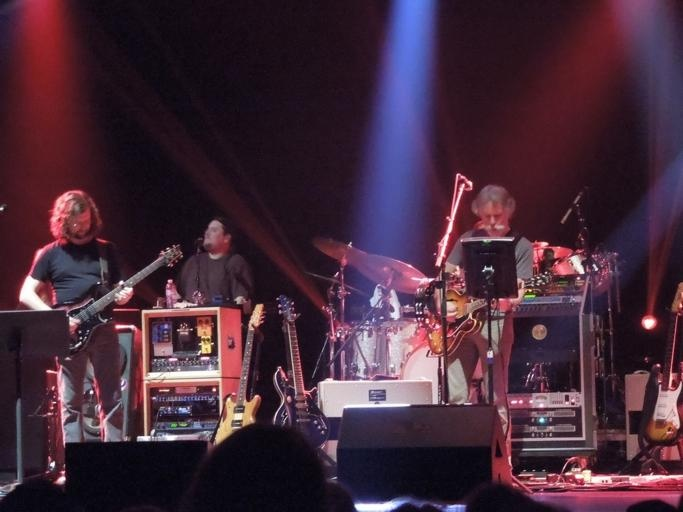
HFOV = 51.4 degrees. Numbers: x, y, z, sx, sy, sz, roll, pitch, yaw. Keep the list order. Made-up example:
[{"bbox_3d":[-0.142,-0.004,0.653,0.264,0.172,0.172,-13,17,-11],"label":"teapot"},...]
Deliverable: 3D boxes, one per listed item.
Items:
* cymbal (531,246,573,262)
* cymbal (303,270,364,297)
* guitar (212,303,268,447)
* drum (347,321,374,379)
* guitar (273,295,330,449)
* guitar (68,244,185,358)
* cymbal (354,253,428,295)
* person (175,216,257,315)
[{"bbox_3d":[2.341,-0.040,7.930,0.322,0.171,0.337,3,9,16],"label":"cymbal"},{"bbox_3d":[-0.051,0.331,8.548,0.418,0.115,0.441,17,-11,29],"label":"cymbal"},{"bbox_3d":[-0.930,1.161,6.710,0.474,1.519,0.162,2,24,-22],"label":"guitar"},{"bbox_3d":[0.239,1.052,7.914,0.266,0.608,0.341,-1,-9,1],"label":"drum"},{"bbox_3d":[-0.422,1.111,6.905,0.554,1.630,0.165,0,22,18],"label":"guitar"},{"bbox_3d":[-2.169,0.481,7.126,1.223,0.411,0.132,-39,21,-20],"label":"guitar"},{"bbox_3d":[0.501,0.169,8.031,0.544,0.133,0.575,13,-17,37],"label":"cymbal"},{"bbox_3d":[-1.409,0.088,7.555,0.855,1.061,0.701,-4,-9,19],"label":"person"}]
